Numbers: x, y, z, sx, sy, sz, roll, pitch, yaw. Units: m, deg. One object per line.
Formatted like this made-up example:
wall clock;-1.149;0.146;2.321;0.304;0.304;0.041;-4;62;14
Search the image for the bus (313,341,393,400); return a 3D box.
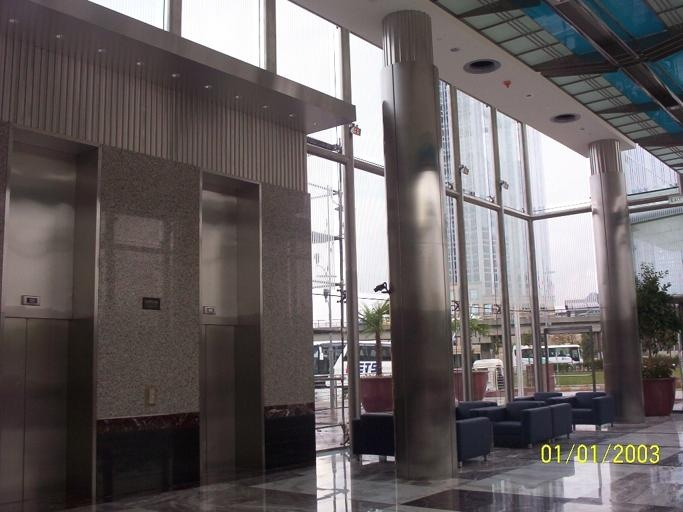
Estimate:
bus;0.328;2.228;12.388;0.724;1.099;2.412;11;3;42
